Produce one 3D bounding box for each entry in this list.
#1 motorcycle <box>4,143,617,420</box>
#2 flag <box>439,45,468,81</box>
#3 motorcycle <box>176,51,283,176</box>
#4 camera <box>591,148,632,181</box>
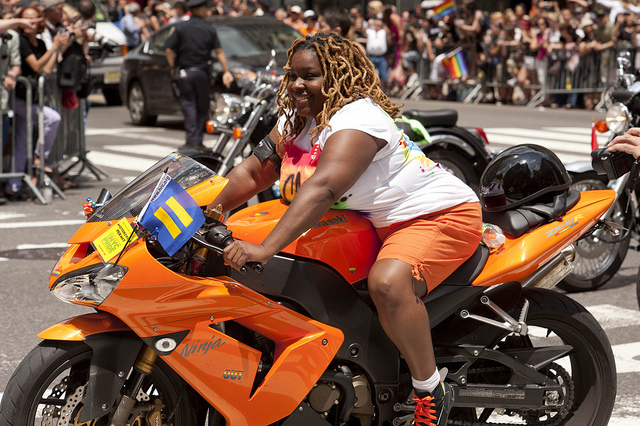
[{"bbox_3d":[0.270,0.327,3.892,3.765,1.973,1.297,2,11,-19],"label":"motorcycle"},{"bbox_3d":[4.263,-4.797,19.668,0.918,0.936,0.223,-34,31,-8],"label":"flag"},{"bbox_3d":[-1.157,-1.423,7.650,1.298,2.000,0.929,4,-28,-6],"label":"motorcycle"},{"bbox_3d":[1.759,-0.313,3.775,0.151,0.226,0.231,-30,34,-23],"label":"camera"}]
